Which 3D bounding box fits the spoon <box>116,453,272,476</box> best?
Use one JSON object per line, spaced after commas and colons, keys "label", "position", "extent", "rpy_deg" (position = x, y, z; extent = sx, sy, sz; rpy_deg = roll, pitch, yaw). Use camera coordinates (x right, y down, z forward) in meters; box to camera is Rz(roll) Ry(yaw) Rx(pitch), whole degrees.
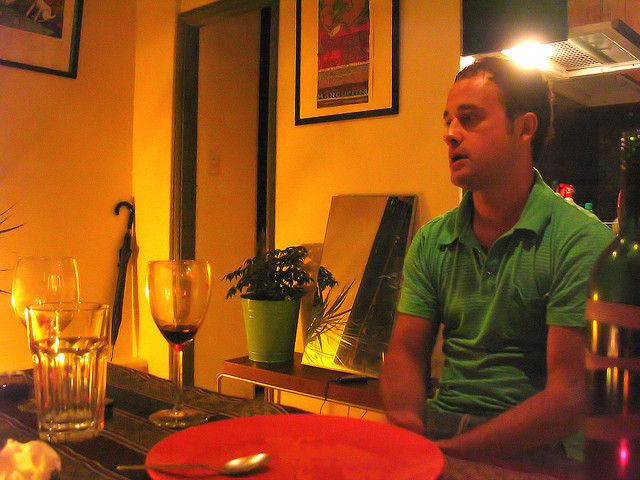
{"label": "spoon", "position": [-0.158, 0.290, 0.736], "extent": [0.197, 0.018, 0.047], "rpy_deg": [1, 0, -13]}

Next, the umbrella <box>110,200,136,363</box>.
{"label": "umbrella", "position": [-1.201, 0.238, 3.386], "extent": [0.113, 0.958, 0.276], "rpy_deg": [2, 1, -1]}

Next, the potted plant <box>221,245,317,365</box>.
{"label": "potted plant", "position": [-0.142, 0.287, 2.612], "extent": [0.529, 0.536, 0.441], "rpy_deg": [2, -4, -18]}
